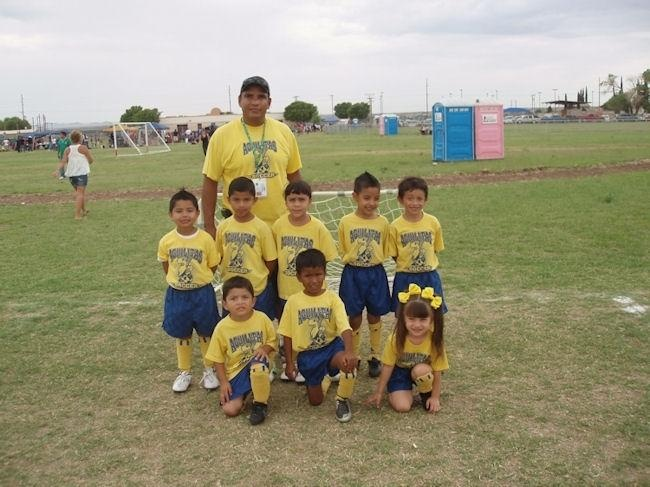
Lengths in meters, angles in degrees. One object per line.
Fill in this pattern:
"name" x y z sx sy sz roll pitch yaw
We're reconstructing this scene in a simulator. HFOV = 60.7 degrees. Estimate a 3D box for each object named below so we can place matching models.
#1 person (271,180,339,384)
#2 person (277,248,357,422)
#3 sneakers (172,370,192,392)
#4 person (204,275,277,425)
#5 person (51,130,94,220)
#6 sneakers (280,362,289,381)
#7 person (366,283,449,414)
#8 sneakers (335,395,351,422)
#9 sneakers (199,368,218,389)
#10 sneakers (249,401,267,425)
"person" -0.256 0.322 4.839 0.703 1.688 0.511 3 12 -4
"person" -0.026 0.675 4.442 0.431 1.244 0.820 -16 18 -40
"sneakers" -1.232 1.157 4.725 0.153 0.130 0.258 -6 13 -6
"person" -0.619 0.802 4.414 0.597 1.042 0.629 -11 15 -25
"person" -5.463 -1.538 12.107 0.933 1.890 0.649 -3 6 -33
"sneakers" -0.369 1.160 4.986 0.065 0.078 0.186 0 -3 -4
"person" 0.650 0.826 4.381 0.601 0.977 0.445 -2 14 10
"sneakers" 0.134 1.268 4.240 0.108 0.128 0.178 -4 13 2
"sneakers" -0.979 1.162 4.721 0.104 0.081 0.196 0 0 -15
"sneakers" -0.515 1.295 4.238 0.111 0.110 0.179 -3 13 6
